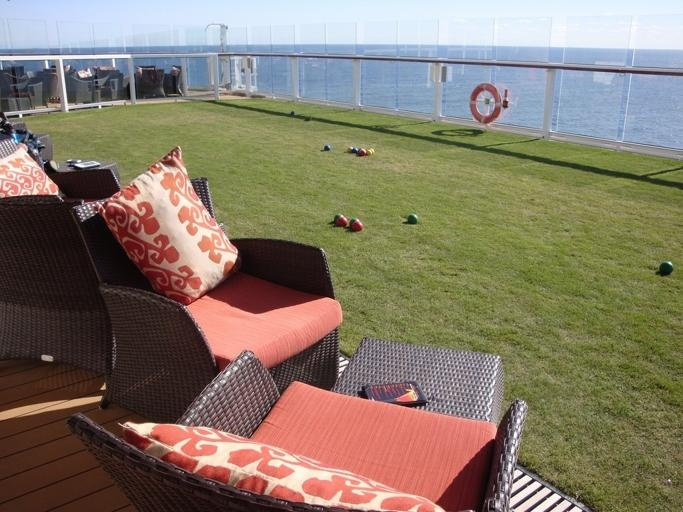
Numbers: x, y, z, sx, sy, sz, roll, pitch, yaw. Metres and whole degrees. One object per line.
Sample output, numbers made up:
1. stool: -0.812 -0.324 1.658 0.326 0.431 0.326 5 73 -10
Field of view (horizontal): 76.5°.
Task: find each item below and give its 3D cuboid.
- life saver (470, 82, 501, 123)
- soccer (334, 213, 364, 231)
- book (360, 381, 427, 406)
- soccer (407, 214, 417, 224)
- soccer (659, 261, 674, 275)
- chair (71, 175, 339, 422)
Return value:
1. life saver: 3.315 -3.482 9.930 0.789 1.018 0.277 4 -9 40
2. soccer: 0.065 -0.361 4.562 0.343 0.139 0.142 15 39 23
3. book: 0.199 0.506 1.635 0.147 0.015 0.090 -3 19 -6
4. soccer: 0.764 -0.404 4.691 0.117 0.126 0.076 8 -6 6
5. soccer: 2.751 0.101 3.673 0.106 0.131 0.193 5 -6 35
6. chair: -0.702 0.116 2.249 1.282 0.940 0.992 13 25 25
